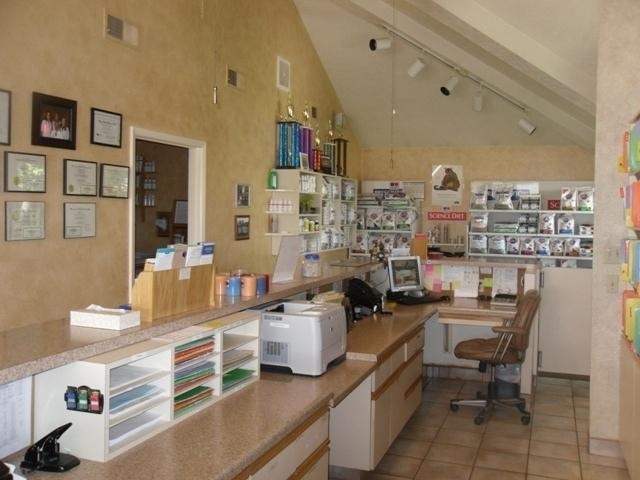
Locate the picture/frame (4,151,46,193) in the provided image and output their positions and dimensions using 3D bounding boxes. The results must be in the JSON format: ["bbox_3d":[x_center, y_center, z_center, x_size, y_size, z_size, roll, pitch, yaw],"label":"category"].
[{"bbox_3d":[-2.165,-0.502,3.795,0.032,0.276,0.327,1,2,23],"label":"picture/frame"}]

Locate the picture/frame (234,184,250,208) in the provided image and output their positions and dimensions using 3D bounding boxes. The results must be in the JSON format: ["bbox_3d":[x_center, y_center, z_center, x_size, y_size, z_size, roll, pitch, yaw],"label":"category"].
[{"bbox_3d":[-0.917,-0.521,6.062,0.029,0.302,0.301,1,0,27],"label":"picture/frame"}]

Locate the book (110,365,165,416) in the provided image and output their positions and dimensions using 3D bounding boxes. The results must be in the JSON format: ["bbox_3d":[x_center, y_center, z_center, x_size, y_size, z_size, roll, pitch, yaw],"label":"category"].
[{"bbox_3d":[-0.938,0.737,2.594,0.215,0.073,0.221,2,4,29],"label":"book"}]

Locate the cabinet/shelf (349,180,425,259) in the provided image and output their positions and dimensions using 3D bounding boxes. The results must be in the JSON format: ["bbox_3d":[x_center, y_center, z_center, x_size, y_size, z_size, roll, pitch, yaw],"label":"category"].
[{"bbox_3d":[1.141,-0.330,8.781,1.301,1.750,0.568,1,1,17],"label":"cabinet/shelf"}]

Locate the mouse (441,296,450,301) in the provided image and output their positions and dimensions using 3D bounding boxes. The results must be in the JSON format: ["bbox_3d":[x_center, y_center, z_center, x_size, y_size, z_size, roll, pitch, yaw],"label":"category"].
[{"bbox_3d":[1.426,0.663,5.931,0.051,0.033,0.090,1,2,25],"label":"mouse"}]

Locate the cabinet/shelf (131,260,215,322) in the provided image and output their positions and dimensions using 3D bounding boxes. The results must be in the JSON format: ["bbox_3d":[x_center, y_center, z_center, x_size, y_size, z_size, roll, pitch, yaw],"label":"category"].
[{"bbox_3d":[-0.844,0.302,2.998,0.116,0.196,0.368,2,2,29],"label":"cabinet/shelf"}]

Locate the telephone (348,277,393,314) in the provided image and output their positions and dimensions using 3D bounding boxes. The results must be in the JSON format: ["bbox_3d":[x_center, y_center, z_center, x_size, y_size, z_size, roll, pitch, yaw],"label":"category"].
[{"bbox_3d":[0.469,0.548,5.167,0.300,0.294,0.504,-2,-1,16],"label":"telephone"}]

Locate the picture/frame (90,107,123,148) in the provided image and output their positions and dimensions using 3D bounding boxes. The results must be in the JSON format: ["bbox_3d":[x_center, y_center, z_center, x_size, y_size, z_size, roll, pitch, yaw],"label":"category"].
[{"bbox_3d":[-1.802,-0.948,4.357,0.028,0.321,0.384,1,1,24],"label":"picture/frame"}]

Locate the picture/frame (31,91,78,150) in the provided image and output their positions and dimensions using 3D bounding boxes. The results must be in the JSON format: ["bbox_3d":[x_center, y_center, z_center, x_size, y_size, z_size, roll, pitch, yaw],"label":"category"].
[{"bbox_3d":[-2.036,-0.914,3.953,0.035,0.490,0.495,4,3,32],"label":"picture/frame"}]

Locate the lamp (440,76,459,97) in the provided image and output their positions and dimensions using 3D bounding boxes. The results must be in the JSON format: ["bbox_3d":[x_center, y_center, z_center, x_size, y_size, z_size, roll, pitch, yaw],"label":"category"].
[{"bbox_3d":[1.909,-2.293,7.691,0.108,0.105,0.292,25,47,20],"label":"lamp"}]

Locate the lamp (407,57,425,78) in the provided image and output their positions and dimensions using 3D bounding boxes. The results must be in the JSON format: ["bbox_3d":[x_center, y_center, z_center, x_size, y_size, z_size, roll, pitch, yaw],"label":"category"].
[{"bbox_3d":[1.384,-2.511,7.510,0.145,0.245,0.155,40,-16,20],"label":"lamp"}]

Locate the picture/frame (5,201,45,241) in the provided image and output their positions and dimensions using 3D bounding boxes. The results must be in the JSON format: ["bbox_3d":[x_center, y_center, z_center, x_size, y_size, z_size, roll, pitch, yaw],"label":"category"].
[{"bbox_3d":[-2.173,-0.139,3.808,0.029,0.276,0.286,2,3,27],"label":"picture/frame"}]

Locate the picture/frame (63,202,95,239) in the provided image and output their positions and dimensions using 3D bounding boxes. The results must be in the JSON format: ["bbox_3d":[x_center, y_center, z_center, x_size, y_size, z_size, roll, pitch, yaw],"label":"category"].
[{"bbox_3d":[-1.942,-0.159,4.171,0.031,0.280,0.284,0,3,20],"label":"picture/frame"}]

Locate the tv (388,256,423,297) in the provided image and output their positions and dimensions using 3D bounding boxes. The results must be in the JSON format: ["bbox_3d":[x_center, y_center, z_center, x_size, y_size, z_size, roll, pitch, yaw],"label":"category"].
[{"bbox_3d":[0.931,0.405,5.740,0.427,0.435,0.152,2,-6,-20],"label":"tv"}]

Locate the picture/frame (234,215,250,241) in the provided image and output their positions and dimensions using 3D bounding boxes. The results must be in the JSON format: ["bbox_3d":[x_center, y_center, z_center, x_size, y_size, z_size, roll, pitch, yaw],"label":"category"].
[{"bbox_3d":[-0.915,-0.142,6.091,0.019,0.309,0.295,4,6,25],"label":"picture/frame"}]

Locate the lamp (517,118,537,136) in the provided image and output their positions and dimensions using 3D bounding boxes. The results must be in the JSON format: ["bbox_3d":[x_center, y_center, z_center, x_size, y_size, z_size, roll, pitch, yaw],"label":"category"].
[{"bbox_3d":[3.276,-1.796,8.226,0.275,0.204,0.465,3,6,23],"label":"lamp"}]

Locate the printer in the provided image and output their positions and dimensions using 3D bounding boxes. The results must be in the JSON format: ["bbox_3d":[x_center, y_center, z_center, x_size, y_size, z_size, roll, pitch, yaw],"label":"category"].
[{"bbox_3d":[-0.167,0.641,3.566,0.459,0.292,0.465,0,3,27],"label":"printer"}]

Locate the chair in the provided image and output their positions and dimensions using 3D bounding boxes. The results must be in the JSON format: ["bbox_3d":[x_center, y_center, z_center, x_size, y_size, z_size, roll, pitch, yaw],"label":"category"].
[{"bbox_3d":[1.805,1.171,5.409,0.852,1.317,0.883,1,1,10],"label":"chair"}]
